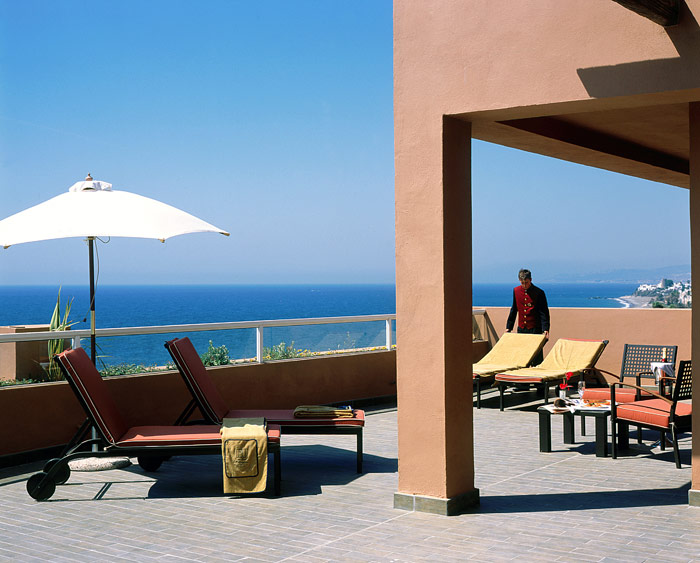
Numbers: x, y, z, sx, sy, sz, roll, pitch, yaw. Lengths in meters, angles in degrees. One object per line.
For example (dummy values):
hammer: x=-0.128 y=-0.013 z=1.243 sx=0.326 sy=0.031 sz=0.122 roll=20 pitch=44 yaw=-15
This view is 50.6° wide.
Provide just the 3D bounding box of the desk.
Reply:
desk: x=2.424 y=1.525 z=7.813 sx=0.584 sy=0.369 sz=0.590 roll=-3 pitch=-5 yaw=36

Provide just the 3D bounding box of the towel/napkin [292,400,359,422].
towel/napkin: x=-0.236 y=1.275 z=7.192 sx=0.611 sy=0.073 sz=0.358 roll=-2 pitch=3 yaw=-9

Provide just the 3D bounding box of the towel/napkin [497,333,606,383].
towel/napkin: x=2.892 y=1.137 z=10.456 sx=1.318 sy=0.413 sz=0.718 roll=-3 pitch=-1 yaw=-45

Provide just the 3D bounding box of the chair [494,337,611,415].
chair: x=2.885 y=1.283 z=10.445 sx=0.909 sy=0.884 sz=1.571 roll=-2 pitch=-2 yaw=45

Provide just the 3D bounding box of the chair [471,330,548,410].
chair: x=2.161 y=1.276 z=11.037 sx=1.587 sy=0.916 sz=0.884 roll=-4 pitch=1 yaw=-34

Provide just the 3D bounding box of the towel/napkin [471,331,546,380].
towel/napkin: x=2.219 y=1.152 z=10.929 sx=0.638 sy=0.352 sz=1.195 roll=6 pitch=17 yaw=42

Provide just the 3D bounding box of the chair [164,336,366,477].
chair: x=-0.836 y=1.212 z=7.506 sx=1.949 sy=1.178 sz=1.100 roll=2 pitch=-4 yaw=-3

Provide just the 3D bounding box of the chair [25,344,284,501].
chair: x=-1.715 y=1.205 z=7.173 sx=2.103 sy=1.357 sz=2.341 roll=-2 pitch=3 yaw=-4

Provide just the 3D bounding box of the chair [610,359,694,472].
chair: x=3.162 y=1.421 z=7.699 sx=0.901 sy=1.105 sz=1.212 roll=2 pitch=2 yaw=40
